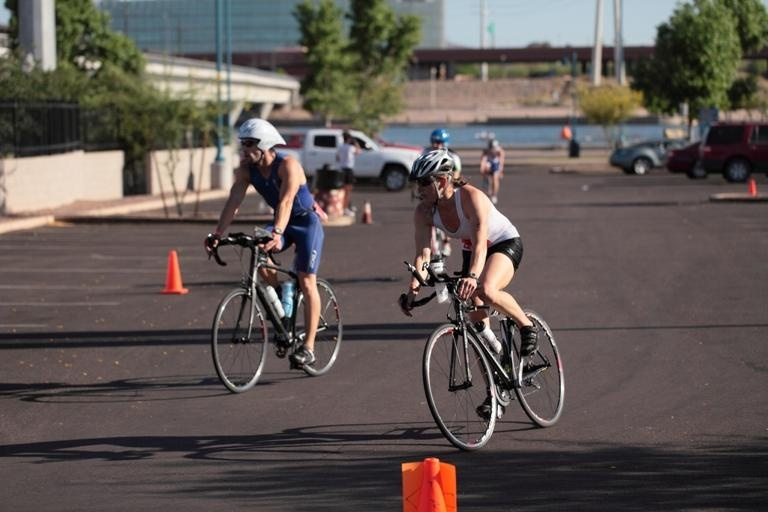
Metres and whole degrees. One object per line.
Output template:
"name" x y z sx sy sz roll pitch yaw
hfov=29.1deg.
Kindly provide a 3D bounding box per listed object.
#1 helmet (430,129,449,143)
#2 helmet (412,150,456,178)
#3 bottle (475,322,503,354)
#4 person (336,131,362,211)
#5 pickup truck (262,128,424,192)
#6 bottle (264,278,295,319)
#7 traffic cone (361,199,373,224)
"helmet" 0.999 -2.339 28.655 0.313 0.297 0.495 0 10 -1
"helmet" 0.704 -1.395 22.224 0.538 0.287 0.382 -7 6 -36
"bottle" 1.562 1.253 22.622 0.201 0.521 0.316 -32 17 17
"person" -1.101 -2.392 43.410 0.436 2.528 0.742 1 -4 -20
"pickup truck" -1.143 -3.385 52.474 4.920 2.175 2.004 1 4 6
"bottle" -1.732 0.707 23.950 0.188 0.739 0.179 -22 29 13
"traffic cone" -0.505 -1.090 37.594 0.446 0.672 0.476 0 -1 -1
